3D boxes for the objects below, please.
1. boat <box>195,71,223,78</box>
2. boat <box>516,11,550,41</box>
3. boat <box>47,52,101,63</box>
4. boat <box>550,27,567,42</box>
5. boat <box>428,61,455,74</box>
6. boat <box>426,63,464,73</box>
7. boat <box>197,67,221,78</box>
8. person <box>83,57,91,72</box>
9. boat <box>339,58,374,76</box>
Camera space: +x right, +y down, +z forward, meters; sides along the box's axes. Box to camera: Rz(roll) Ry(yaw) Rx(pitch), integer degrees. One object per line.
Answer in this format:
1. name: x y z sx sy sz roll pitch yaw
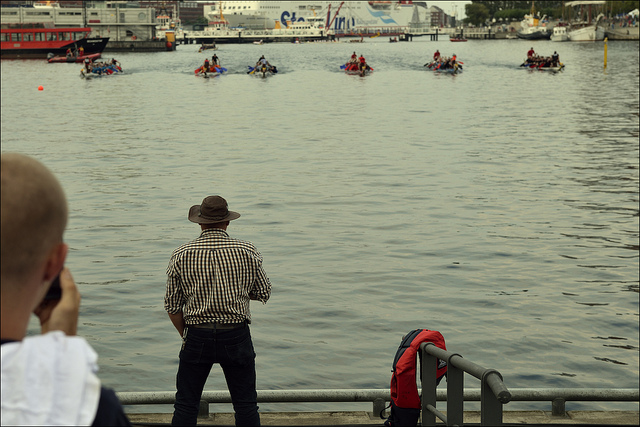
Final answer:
1. boat: -10.261 -12.910 126.644 2.145 0.857 0.818 -6 43 -2
2. boat: 31.998 -26.770 199.520 3.731 3.820 9.087 -1 15 0
3. boat: -25.916 -16.001 143.720 6.160 1.139 1.873 0 9 4
4. boat: 31.786 -23.696 182.783 1.519 2.493 6.992 1 15 5
5. boat: 11.378 -13.535 127.828 0.706 0.740 4.004 -10 21 -39
6. boat: 12.165 -13.544 127.929 1.524 0.464 1.604 -16 16 -41
7. boat: -10.282 -13.016 126.269 1.966 1.009 3.019 -2 15 -4
8. person: -21.192 -13.488 125.077 0.595 1.043 0.867 4 6 -15
9. boat: 3.445 -13.457 126.250 1.392 1.211 3.189 -9 18 -26
